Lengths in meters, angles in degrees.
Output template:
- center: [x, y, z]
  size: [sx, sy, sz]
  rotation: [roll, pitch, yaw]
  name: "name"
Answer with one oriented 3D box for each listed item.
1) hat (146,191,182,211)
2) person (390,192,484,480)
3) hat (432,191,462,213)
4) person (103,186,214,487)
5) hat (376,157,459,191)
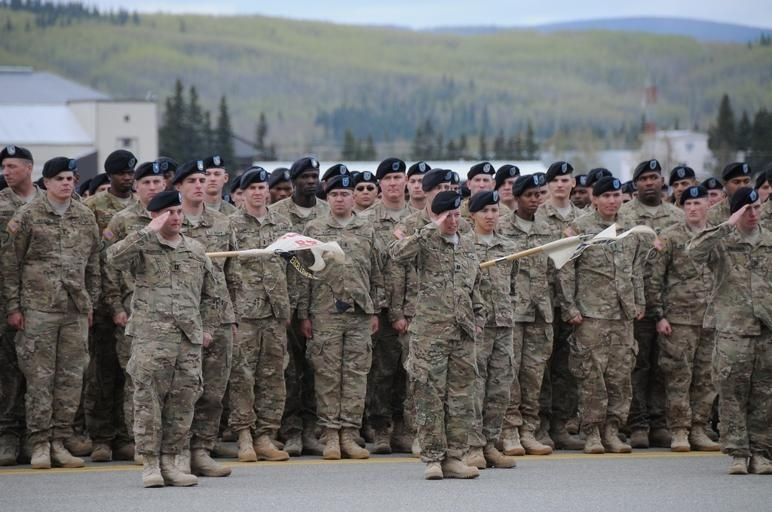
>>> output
- center: [-2.609, -0.635, 19.094]
  size: [0.306, 0.096, 0.265]
  rotation: [-13, -1, 27]
  name: "hat"
- center: [0.764, 0.935, 19.498]
  size: [0.957, 3.407, 0.794]
  rotation: [-5, 7, -34]
  name: "person"
- center: [0.722, -0.640, 19.417]
  size: [0.263, 0.116, 0.315]
  rotation: [-12, 3, 24]
  name: "hat"
- center: [-2.508, 0.962, 19.182]
  size: [1.142, 3.438, 0.714]
  rotation: [-6, 8, -43]
  name: "person"
- center: [0.302, -1.066, 21.525]
  size: [0.785, 0.308, 0.512]
  rotation: [0, -1, 9]
  name: "hat"
